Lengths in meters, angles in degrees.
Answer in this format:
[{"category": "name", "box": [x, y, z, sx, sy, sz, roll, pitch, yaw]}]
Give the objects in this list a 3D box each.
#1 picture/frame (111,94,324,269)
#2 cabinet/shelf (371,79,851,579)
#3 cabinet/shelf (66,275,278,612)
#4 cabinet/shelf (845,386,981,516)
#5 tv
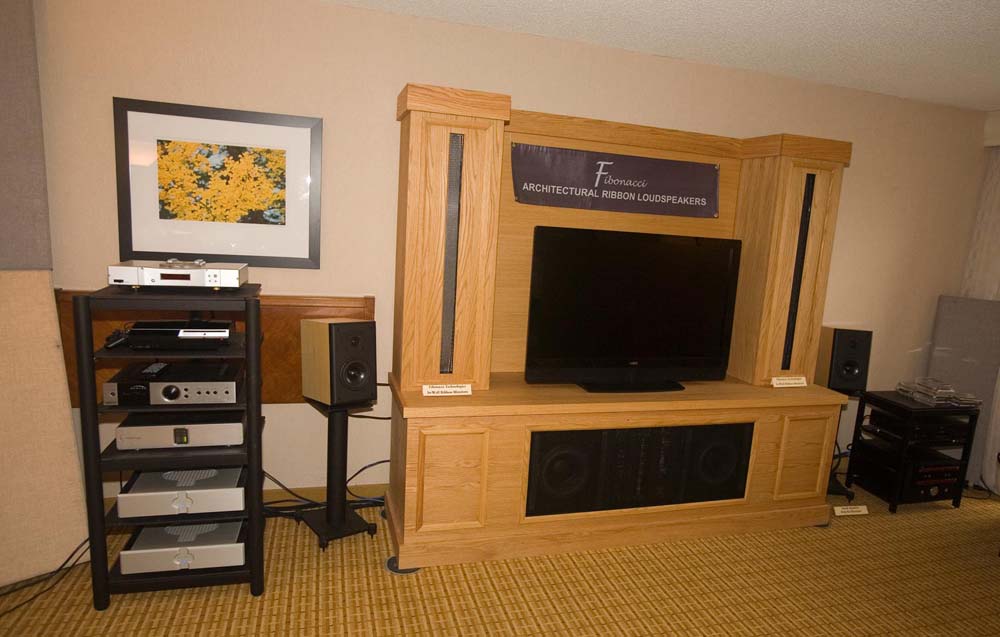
[{"category": "picture/frame", "box": [-1.833, -0.899, 4.397, 1.389, 0.915, 0.028, -1, 8, -11]}, {"category": "cabinet/shelf", "box": [0.631, 0.135, 4.581, 3.915, 2.942, 1.045, 0, 4, -12]}, {"category": "cabinet/shelf", "box": [-1.907, 0.704, 4.155, 0.980, 1.810, 0.742, -2, 10, -17]}, {"category": "cabinet/shelf", "box": [3.093, 0.965, 5.267, 0.815, 0.822, 0.477, -2, 10, -19]}, {"category": "tv", "box": [0.833, -0.065, 4.655, 1.278, 0.754, 0.309, 3, 14, -12]}]
